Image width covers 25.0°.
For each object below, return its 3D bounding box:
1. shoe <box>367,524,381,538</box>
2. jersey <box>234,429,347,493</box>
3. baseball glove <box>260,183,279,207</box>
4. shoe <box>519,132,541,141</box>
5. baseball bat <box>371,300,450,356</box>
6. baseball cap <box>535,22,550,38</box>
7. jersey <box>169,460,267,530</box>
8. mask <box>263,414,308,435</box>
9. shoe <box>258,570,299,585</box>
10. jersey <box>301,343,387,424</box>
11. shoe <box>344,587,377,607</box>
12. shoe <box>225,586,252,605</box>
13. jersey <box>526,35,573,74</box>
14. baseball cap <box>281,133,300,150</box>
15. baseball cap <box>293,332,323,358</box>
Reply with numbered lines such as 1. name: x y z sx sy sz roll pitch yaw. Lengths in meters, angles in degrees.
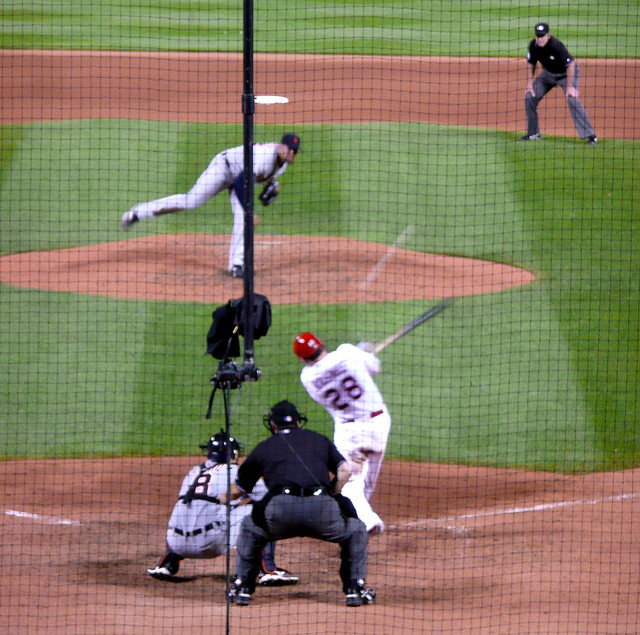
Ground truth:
1. shoe: 0.609 2.532 17.131 0.063 0.265 0.106 17 29 4
2. jersey: -0.351 1.654 15.811 0.934 0.680 0.971 -2 17 -15
3. baseball glove: -0.750 -1.767 20.710 0.198 0.316 0.094 26 22 -13
4. shoe: 3.479 -3.037 24.294 0.329 0.132 0.109 0 10 13
5. baseball bat: 1.188 0.148 19.454 1.541 0.124 0.037 -33 78 -37
6. baseball cap: 3.427 -4.499 22.606 0.206 0.148 0.292 -3 17 15
7. jersey: -1.234 2.050 16.569 0.963 0.786 1.248 5 15 -4
8. mask: -0.398 1.197 16.219 0.413 0.242 0.511 -1 -11 0
9. shoe: -0.505 2.930 16.226 0.482 0.207 0.167 0 -10 -7
10. jersey: 0.192 0.779 17.759 0.842 0.992 0.918 8 20 21
11. shoe: 0.438 3.065 15.888 0.401 0.173 0.140 -5 7 -43
12. shoe: -0.905 3.058 15.858 0.231 0.122 0.329 -1 0 -33
13. jersey: 3.608 -4.147 22.877 0.698 0.586 0.224 7 28 3
14. baseball cap: -0.439 -2.502 20.357 0.250 0.276 0.525 4 27 -3
15. baseball cap: -0.177 0.355 17.906 0.211 0.170 0.347 39 34 23
